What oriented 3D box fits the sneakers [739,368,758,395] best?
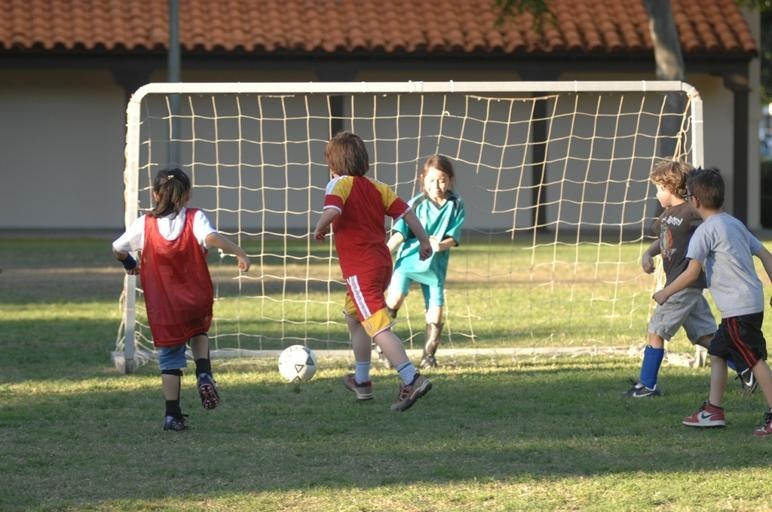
[{"bbox_3d":[3.816,1.314,12.438,0.141,0.318,0.108,-17,25,7],"label":"sneakers"}]

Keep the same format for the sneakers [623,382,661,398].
[{"bbox_3d":[2.743,1.456,12.726,0.411,0.166,0.147,-1,-3,6],"label":"sneakers"}]

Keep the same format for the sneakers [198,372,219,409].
[{"bbox_3d":[-1.844,1.402,12.209,0.212,0.361,0.261,-2,0,-9],"label":"sneakers"}]

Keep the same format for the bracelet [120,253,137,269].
[{"bbox_3d":[-2.685,0.073,12.376,0.145,0.150,0.154,-23,-7,4],"label":"bracelet"}]

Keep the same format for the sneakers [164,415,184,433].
[{"bbox_3d":[-2.176,1.725,12.101,0.118,0.114,0.228,1,2,3],"label":"sneakers"}]

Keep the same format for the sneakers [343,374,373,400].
[{"bbox_3d":[-0.304,1.405,12.752,0.156,0.162,0.388,3,15,-28],"label":"sneakers"}]

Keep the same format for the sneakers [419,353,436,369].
[{"bbox_3d":[0.496,1.186,13.589,0.216,0.267,0.161,0,5,9],"label":"sneakers"}]
